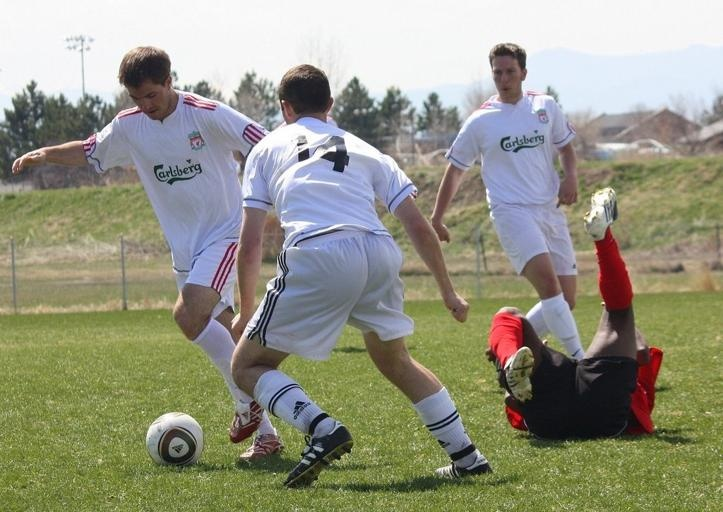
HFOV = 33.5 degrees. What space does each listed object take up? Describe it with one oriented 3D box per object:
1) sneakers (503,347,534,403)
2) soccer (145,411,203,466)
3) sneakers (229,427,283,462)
[{"bbox_3d":[1.740,1.330,13.088,0.274,0.615,0.290,-7,27,-21],"label":"sneakers"},{"bbox_3d":[-2.121,2.071,13.559,0.565,0.559,0.565,-6,5,-11],"label":"soccer"},{"bbox_3d":[-1.167,2.195,13.489,0.558,0.249,0.219,-7,-2,-32],"label":"sneakers"}]
